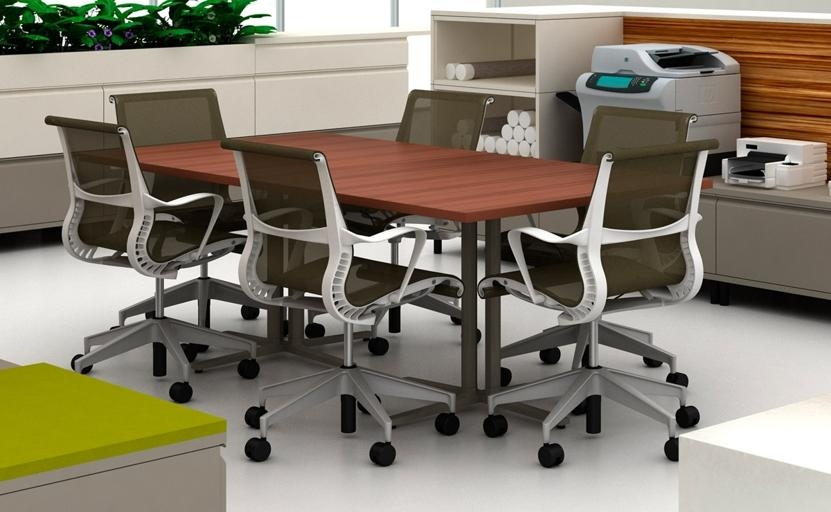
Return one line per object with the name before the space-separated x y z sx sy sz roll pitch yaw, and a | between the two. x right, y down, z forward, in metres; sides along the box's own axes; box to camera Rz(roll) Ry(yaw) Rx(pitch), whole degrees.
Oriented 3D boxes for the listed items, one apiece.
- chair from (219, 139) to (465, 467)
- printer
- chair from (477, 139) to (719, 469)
chair | -0.386 0.164 3.409 1.176 1.411 1.109 5 6 23
printer | 1.836 -1.207 5.763 1.303 1.432 1.284 -7 11 -36
chair | 0.900 0.166 3.325 1.208 1.392 1.080 -9 6 -44
